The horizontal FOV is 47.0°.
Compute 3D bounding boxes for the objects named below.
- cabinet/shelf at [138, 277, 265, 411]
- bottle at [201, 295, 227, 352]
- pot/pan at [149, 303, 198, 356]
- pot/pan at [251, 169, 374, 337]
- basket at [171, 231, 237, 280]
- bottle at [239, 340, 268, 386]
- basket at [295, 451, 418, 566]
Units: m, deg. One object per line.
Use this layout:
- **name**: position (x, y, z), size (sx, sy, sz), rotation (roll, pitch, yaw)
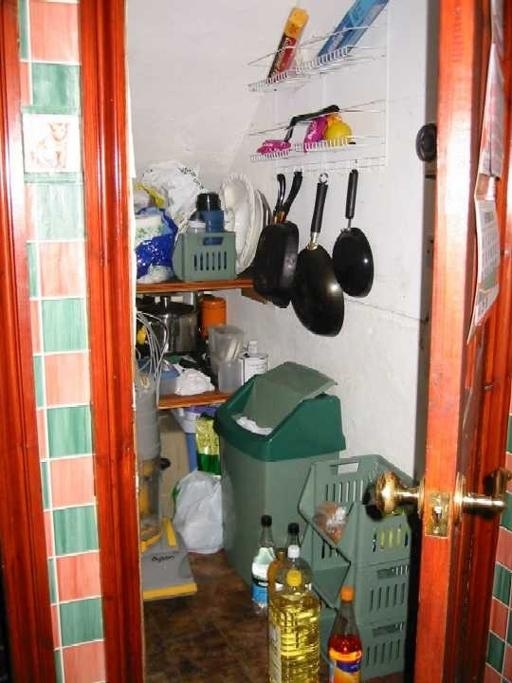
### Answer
- **cabinet/shelf**: position (-0.259, -0.126, 2.372), size (0.431, 0.648, 0.626), rotation (-2, 6, -19)
- **bottle**: position (-0.182, -0.102, 2.608), size (0.156, 0.252, 0.143), rotation (0, 10, 0)
- **pot/pan**: position (-0.351, -0.074, 2.507), size (0.206, 0.252, 0.207), rotation (1, 10, 22)
- **pot/pan**: position (0.170, -0.205, 1.669), size (0.078, 0.495, 0.300), rotation (0, 5, -40)
- **basket**: position (-0.194, -0.294, 2.139), size (0.212, 0.183, 0.236), rotation (1, -1, -10)
- **bottle**: position (-0.010, 0.081, 2.143), size (0.101, 0.208, 0.106), rotation (1, 14, 0)
- **basket**: position (0.212, 0.334, 1.417), size (0.206, 0.241, 0.327), rotation (-1, 5, -16)
